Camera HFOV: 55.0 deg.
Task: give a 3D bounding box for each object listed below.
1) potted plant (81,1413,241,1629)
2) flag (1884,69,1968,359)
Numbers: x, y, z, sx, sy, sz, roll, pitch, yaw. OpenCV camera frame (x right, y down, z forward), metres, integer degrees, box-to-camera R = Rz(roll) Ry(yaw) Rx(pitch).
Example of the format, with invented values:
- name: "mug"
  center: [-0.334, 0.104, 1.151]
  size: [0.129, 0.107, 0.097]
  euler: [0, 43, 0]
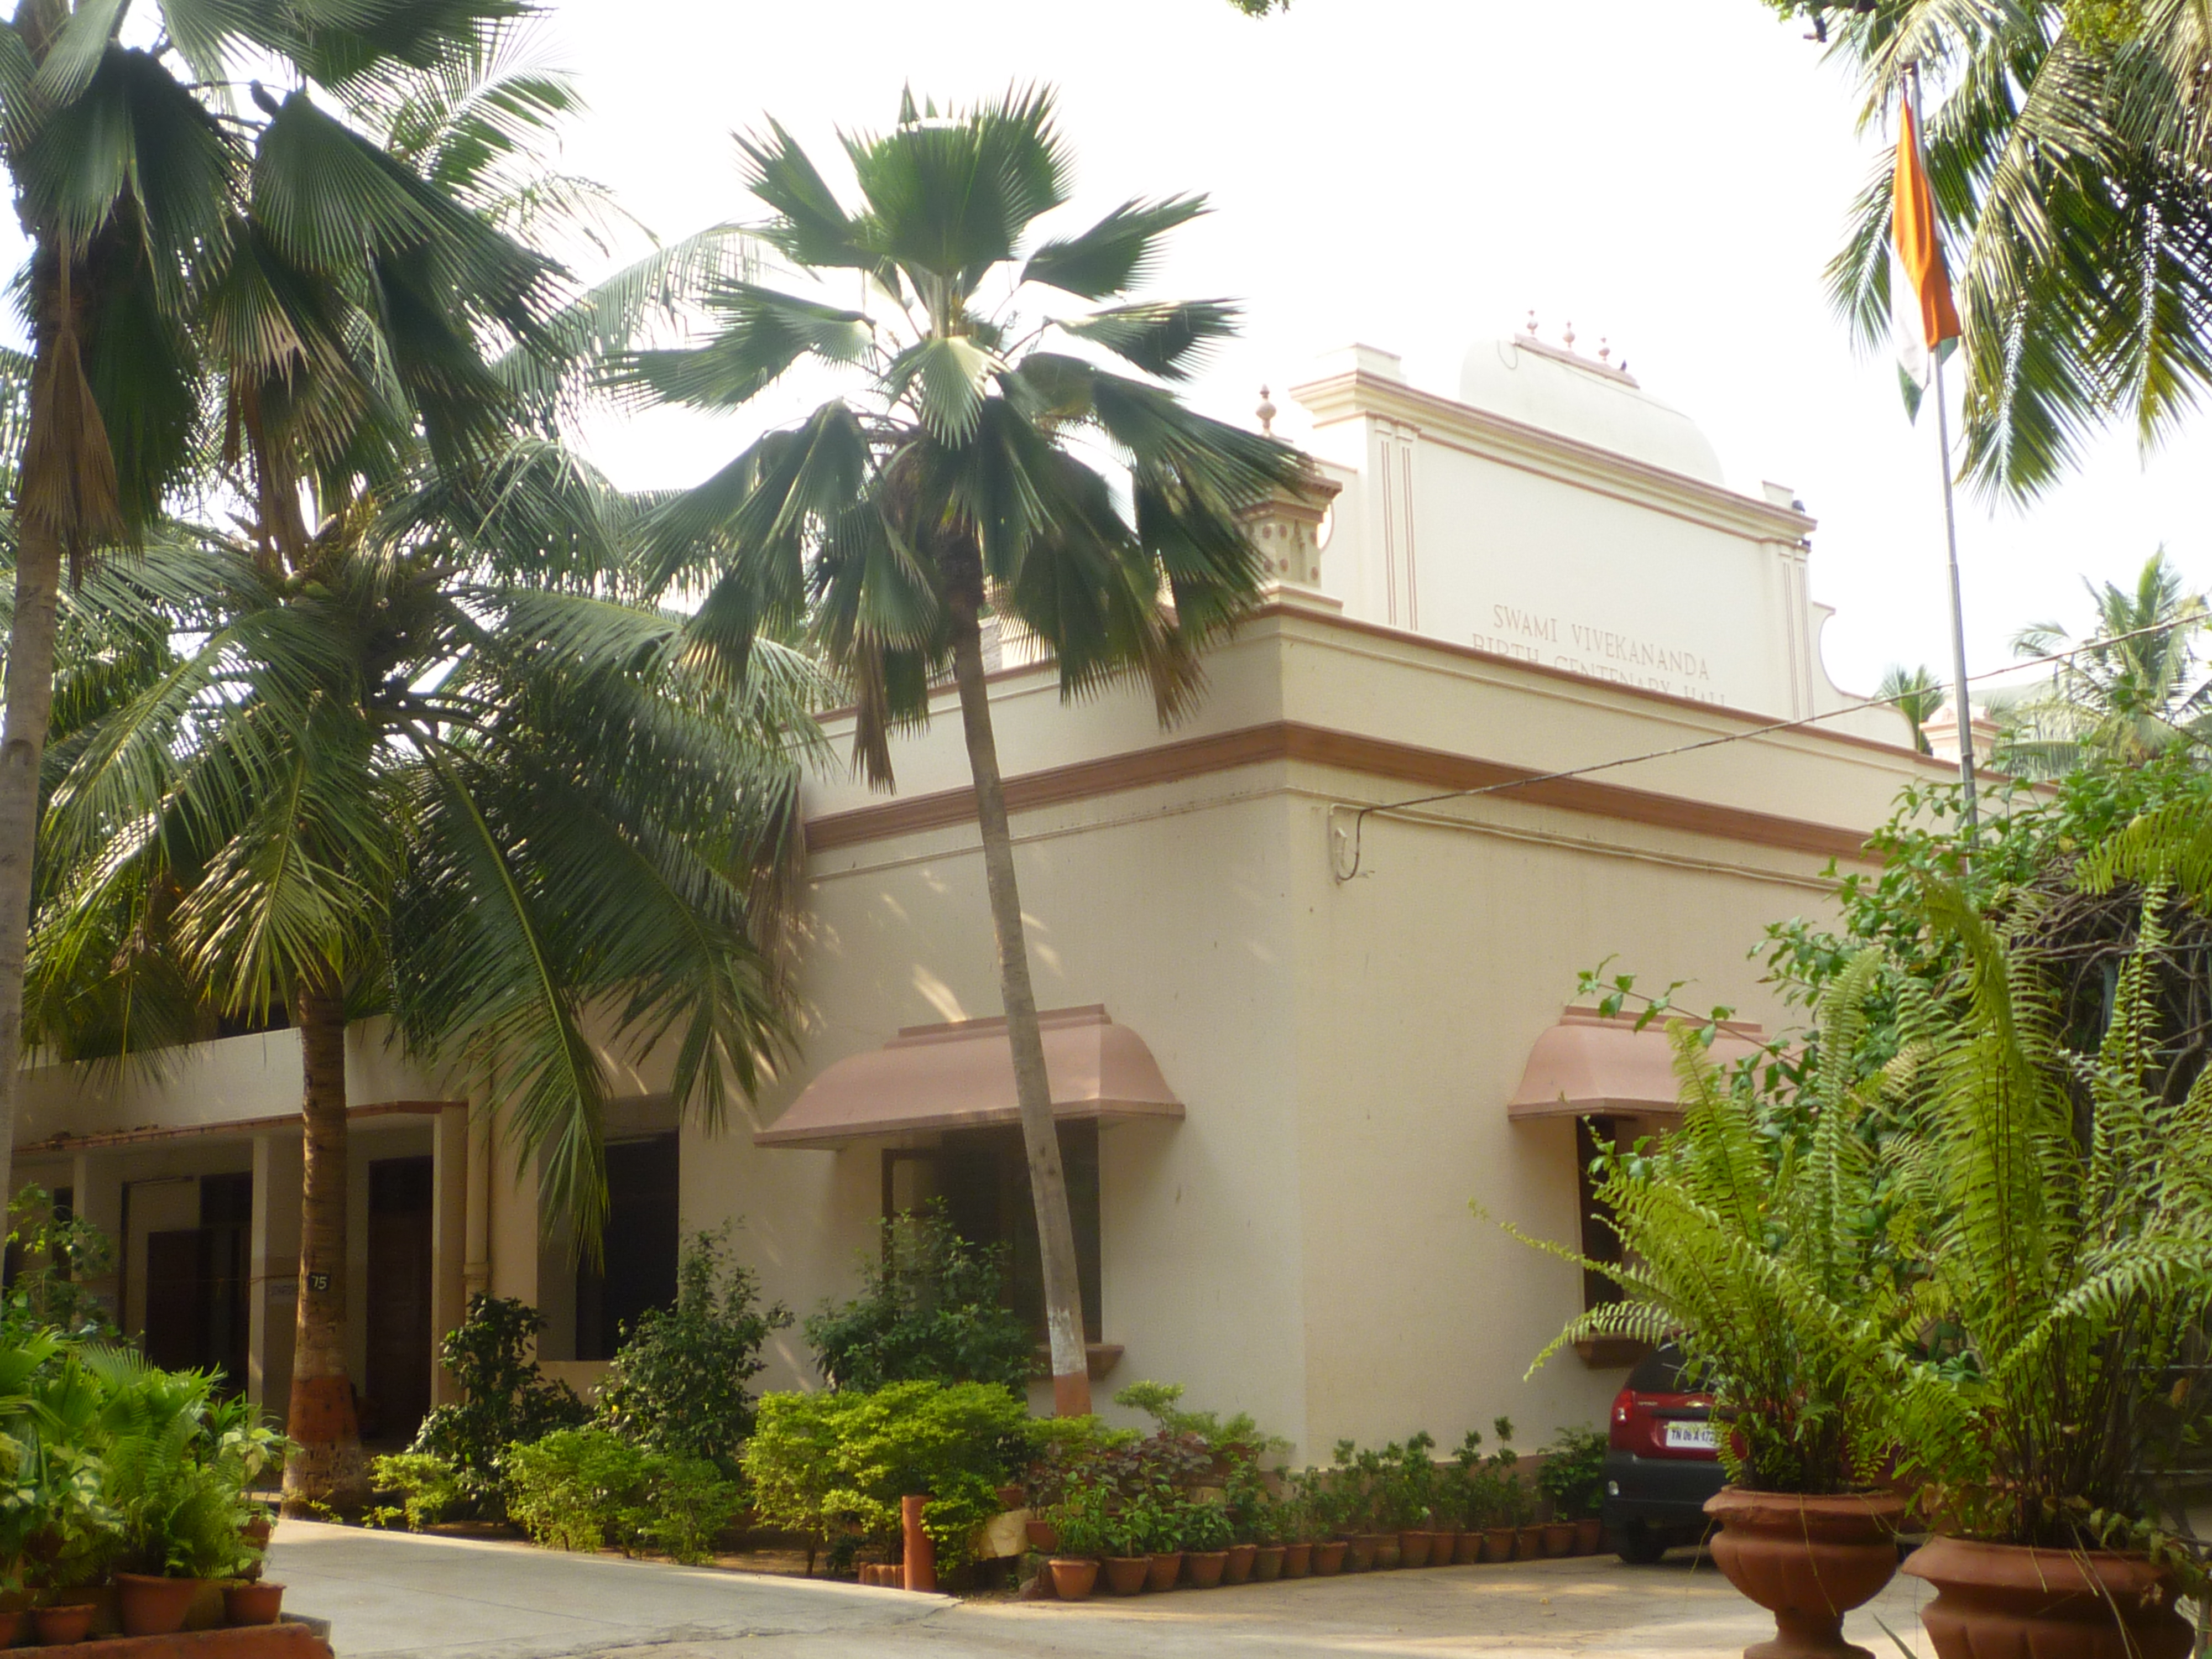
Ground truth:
- name: "potted plant"
  center: [-4.241, 3.146, 9.814]
  size: [0.685, 0.985, 0.773]
  euler: [1, -26, -8]
- name: "flag"
  center: [5.013, -3.637, 13.102]
  size: [0.306, 1.112, 1.177]
  euler: [-6, -16, 23]
